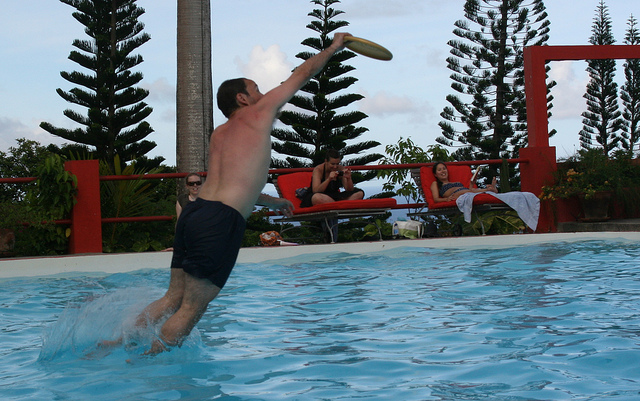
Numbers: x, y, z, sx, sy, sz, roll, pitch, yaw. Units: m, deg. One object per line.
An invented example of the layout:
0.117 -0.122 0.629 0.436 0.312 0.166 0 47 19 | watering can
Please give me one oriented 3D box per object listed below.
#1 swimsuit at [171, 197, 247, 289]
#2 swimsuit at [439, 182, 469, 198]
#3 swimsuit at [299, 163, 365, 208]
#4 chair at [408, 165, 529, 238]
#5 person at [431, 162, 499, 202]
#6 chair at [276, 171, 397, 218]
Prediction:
-1.104 0.333 5.328 0.499 0.625 0.406 13 0 27 | swimsuit
2.214 -0.190 10.057 0.469 0.205 0.350 -5 12 -14 | swimsuit
0.182 -0.282 9.665 1.043 0.849 0.796 -1 5 -13 | swimsuit
2.118 -0.190 10.097 1.564 0.935 1.047 -1 27 5 | chair
2.301 -0.259 9.961 1.184 0.636 0.565 8 21 15 | person
0.011 0.001 9.494 0.923 0.609 1.466 -2 0 -34 | chair
